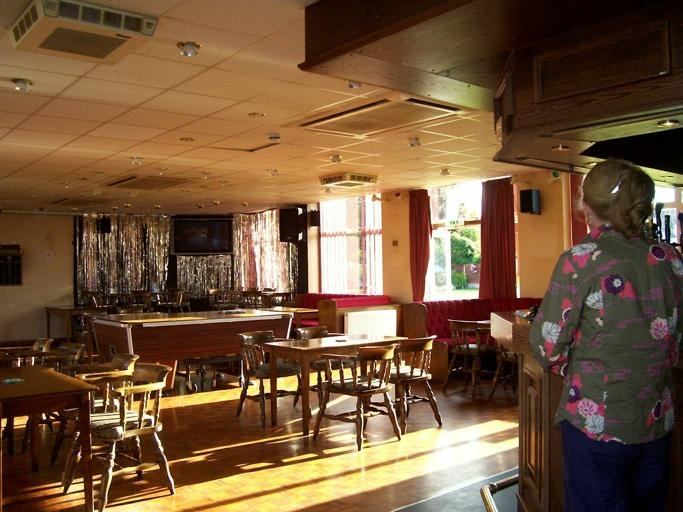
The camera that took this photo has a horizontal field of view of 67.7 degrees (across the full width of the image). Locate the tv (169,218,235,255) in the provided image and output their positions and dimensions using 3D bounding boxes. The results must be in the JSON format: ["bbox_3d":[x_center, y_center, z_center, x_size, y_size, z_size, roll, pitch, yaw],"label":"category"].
[{"bbox_3d":[-4.389,-0.595,15.688,1.631,0.753,0.175,1,-7,-15],"label":"tv"}]
